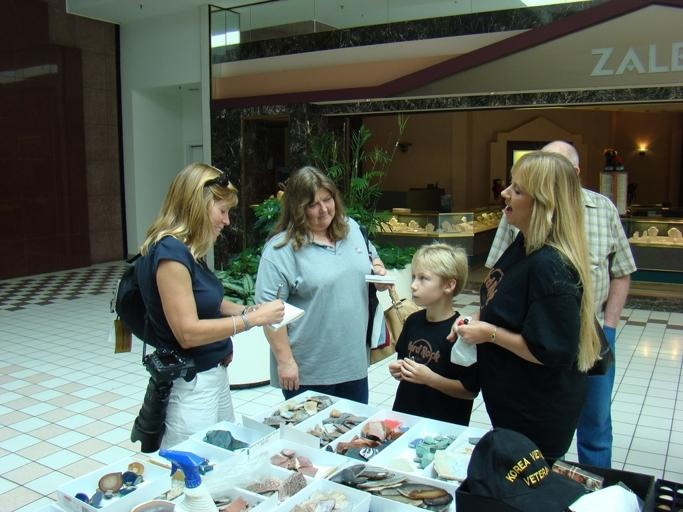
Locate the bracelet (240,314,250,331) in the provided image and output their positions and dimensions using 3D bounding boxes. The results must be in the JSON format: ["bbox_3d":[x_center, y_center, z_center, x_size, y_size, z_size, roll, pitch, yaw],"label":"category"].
[{"bbox_3d":[-0.428,0.299,2.192,0.021,0.059,0.052,-11,9,-32],"label":"bracelet"}]

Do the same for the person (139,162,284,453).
[{"bbox_3d":[-0.606,0.242,2.249,0.555,1.281,0.328,-5,11,-22],"label":"person"}]

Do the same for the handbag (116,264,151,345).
[{"bbox_3d":[-0.992,0.189,2.354,0.144,0.261,0.183,10,-10,-20],"label":"handbag"}]

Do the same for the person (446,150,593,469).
[{"bbox_3d":[0.733,0.215,1.976,0.538,1.228,0.421,4,11,28],"label":"person"}]

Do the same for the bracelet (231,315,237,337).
[{"bbox_3d":[-0.477,0.317,2.226,0.020,0.105,0.108,-3,10,-12],"label":"bracelet"}]

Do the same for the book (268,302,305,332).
[{"bbox_3d":[-0.246,0.303,2.289,0.128,0.030,0.128,-25,29,-39],"label":"book"}]

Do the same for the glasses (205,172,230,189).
[{"bbox_3d":[-0.561,-0.331,2.248,0.085,0.047,0.069,-25,-14,24],"label":"glasses"}]
